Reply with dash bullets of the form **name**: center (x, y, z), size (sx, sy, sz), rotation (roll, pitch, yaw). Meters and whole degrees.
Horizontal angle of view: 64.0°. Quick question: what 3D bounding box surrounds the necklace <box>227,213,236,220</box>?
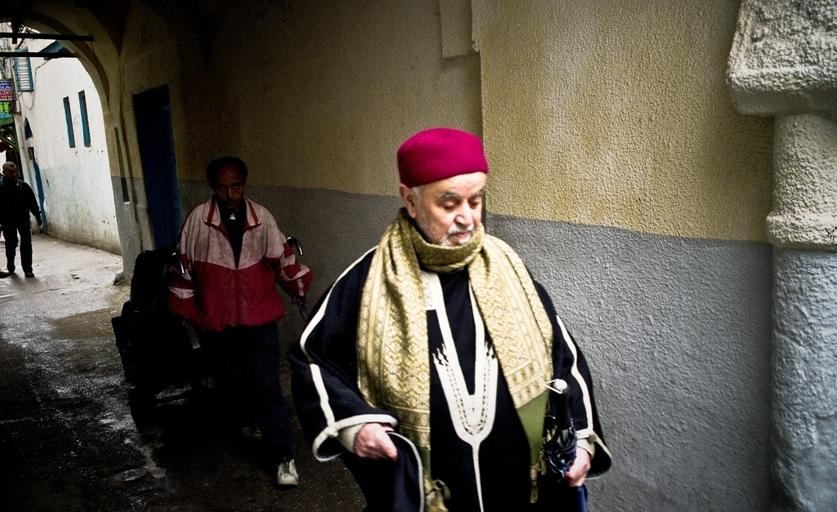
- **necklace**: center (-1.417, -0.295, 5.075), size (0.049, 0.048, 0.050), rotation (4, 8, 31)

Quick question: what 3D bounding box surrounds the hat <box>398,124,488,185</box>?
- **hat**: center (0.131, -0.499, 3.345), size (0.332, 0.200, 0.327), rotation (4, 12, 34)
